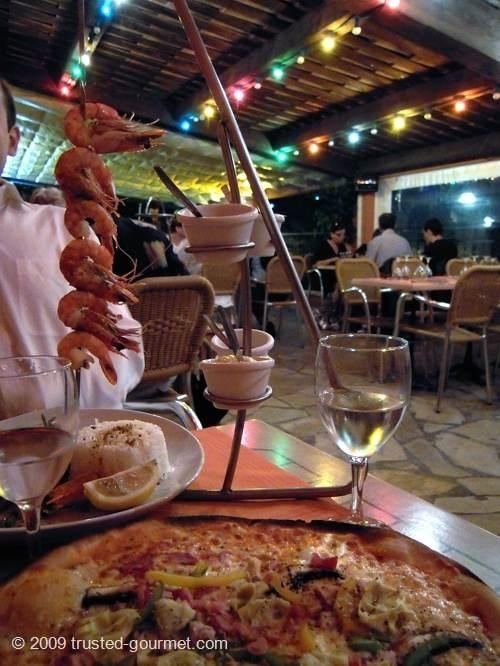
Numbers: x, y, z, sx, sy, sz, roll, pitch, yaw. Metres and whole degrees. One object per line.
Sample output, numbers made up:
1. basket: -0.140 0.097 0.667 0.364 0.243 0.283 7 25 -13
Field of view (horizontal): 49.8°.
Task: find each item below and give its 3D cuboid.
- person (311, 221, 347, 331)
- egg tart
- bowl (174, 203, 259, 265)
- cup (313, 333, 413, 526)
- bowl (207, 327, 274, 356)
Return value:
1. person: 1.077 -0.817 7.202 0.492 1.567 0.480 5 10 32
2. egg tart: -0.158 0.134 0.653 0.107 0.066 0.123 -6 4 -42
3. bowl: -0.032 -0.103 0.536 0.077 0.063 0.064 1 4 0
4. cup: 0.108 0.089 0.575 0.123 0.189 0.084 2 5 -31
5. bowl: -0.010 0.011 0.633 0.067 0.035 0.120 1 4 0
